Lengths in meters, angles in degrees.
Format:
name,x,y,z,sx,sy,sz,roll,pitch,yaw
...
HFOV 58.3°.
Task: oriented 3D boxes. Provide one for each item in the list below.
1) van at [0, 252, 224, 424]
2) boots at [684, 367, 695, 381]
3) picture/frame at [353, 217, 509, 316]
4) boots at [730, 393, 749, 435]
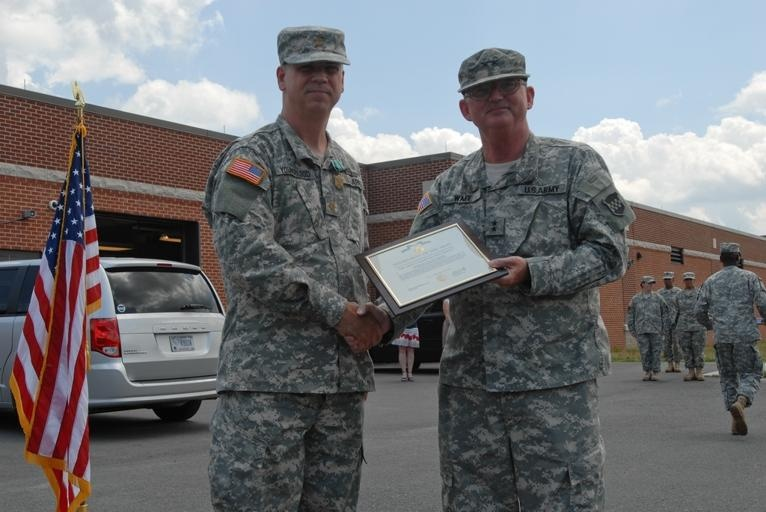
name,x,y,z,sx,sy,sz,roll,pitch,yaw
van,-4.008,0.977,9.414,3.427,1.398,1.900,1,-2,32
boots,7.082,2.695,15.828,0.260,0.245,0.479,-4,-5,23
picture/frame,0.249,0.059,4.076,0.722,0.766,0.056,21,-40,23
boots,4.544,1.995,8.755,0.179,0.484,0.341,-8,32,23
